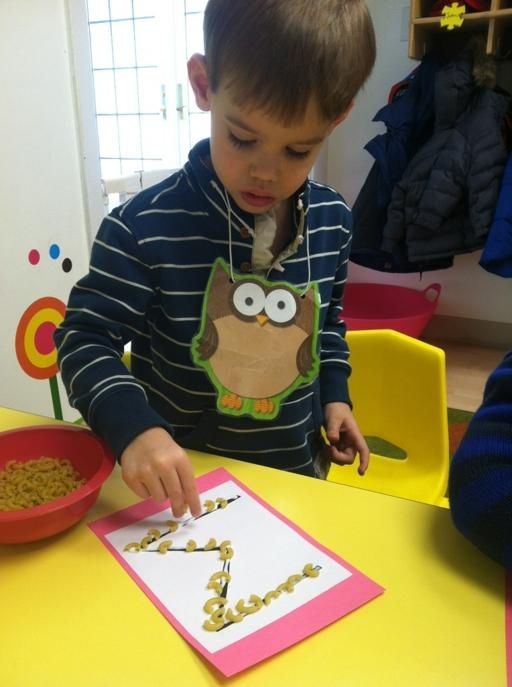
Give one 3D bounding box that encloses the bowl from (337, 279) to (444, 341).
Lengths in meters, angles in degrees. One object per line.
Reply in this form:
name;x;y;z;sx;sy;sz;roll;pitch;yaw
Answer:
bowl;0.674;-0.205;2.813;0.437;0.234;0.448;6;-7;1
